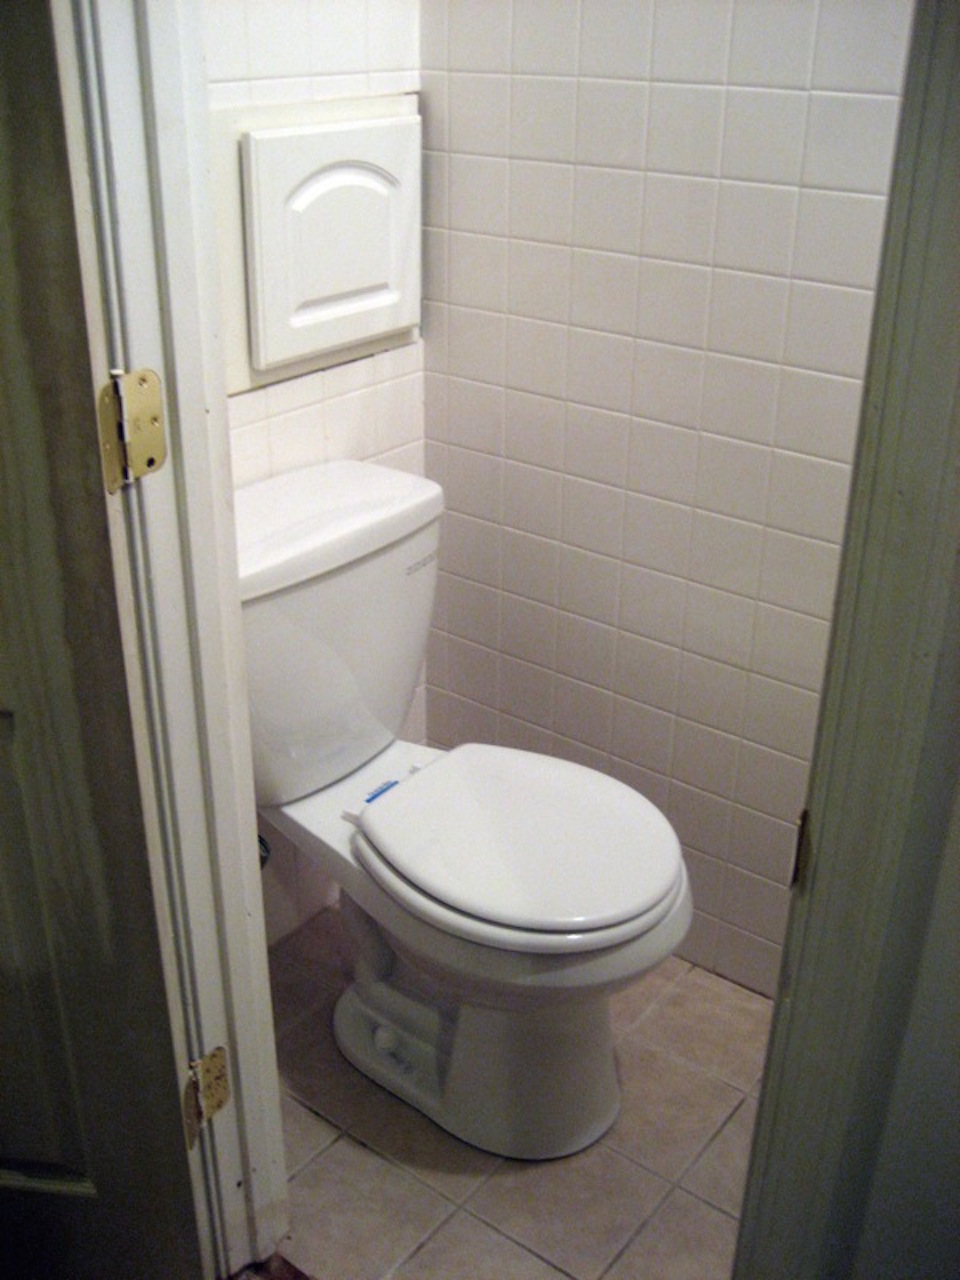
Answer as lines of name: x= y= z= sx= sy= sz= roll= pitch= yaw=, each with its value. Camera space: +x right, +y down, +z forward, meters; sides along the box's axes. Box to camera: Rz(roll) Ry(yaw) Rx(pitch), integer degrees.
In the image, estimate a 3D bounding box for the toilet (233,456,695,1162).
toilet: x=-0.047 y=0.270 z=1.469 sx=0.643 sy=0.932 sz=0.409 roll=12 pitch=27 yaw=33
